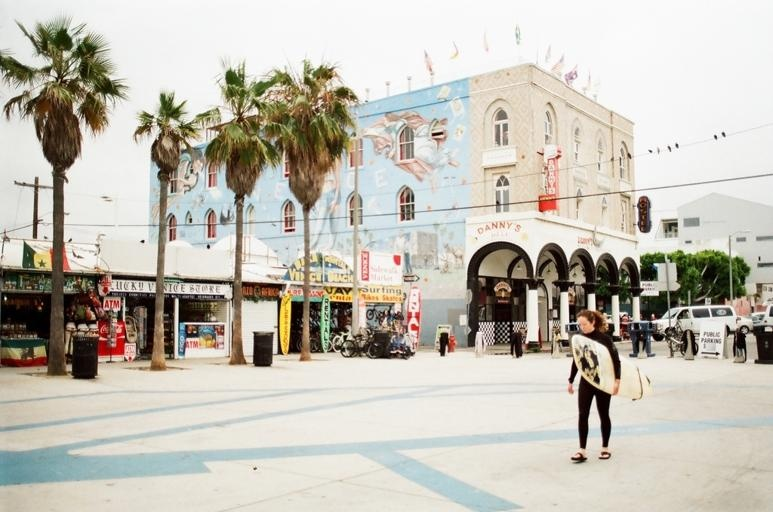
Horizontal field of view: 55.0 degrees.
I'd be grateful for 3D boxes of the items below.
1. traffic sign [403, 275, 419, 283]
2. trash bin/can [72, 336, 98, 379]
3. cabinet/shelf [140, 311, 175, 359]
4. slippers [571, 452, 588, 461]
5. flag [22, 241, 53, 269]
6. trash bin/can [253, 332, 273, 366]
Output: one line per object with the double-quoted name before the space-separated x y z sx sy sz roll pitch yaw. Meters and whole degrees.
"traffic sign" 1.382 1.346 43.848 1.093 0.164 0.537 2 -19 34
"trash bin/can" -9.251 3.093 22.828 0.697 1.315 0.593 3 -7 -26
"cabinet/shelf" -9.999 3.378 32.869 1.274 2.264 3.644 4 -8 -32
"slippers" 3.435 3.610 13.351 0.314 0.117 0.116 5 -11 -12
"flag" -12.691 0.002 26.957 0.068 0.765 0.941 -15 -15 31
"trash bin/can" -4.598 3.475 27.596 0.648 1.220 0.690 2 -6 -14
